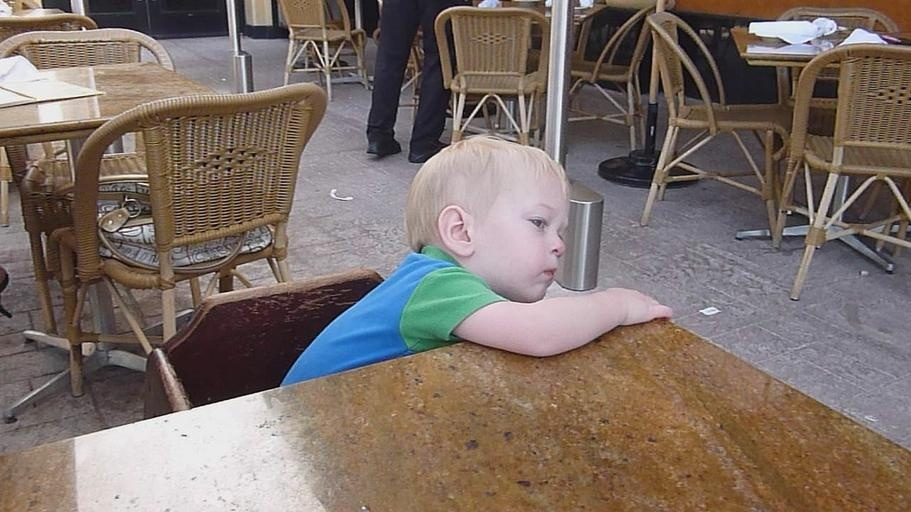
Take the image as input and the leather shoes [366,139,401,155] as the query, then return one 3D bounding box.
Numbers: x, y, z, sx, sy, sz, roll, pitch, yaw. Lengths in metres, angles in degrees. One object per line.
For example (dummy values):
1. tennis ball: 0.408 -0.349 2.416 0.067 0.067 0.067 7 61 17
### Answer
1. leather shoes: -0.563 -0.865 4.854 0.116 0.117 0.309 14 19 38
